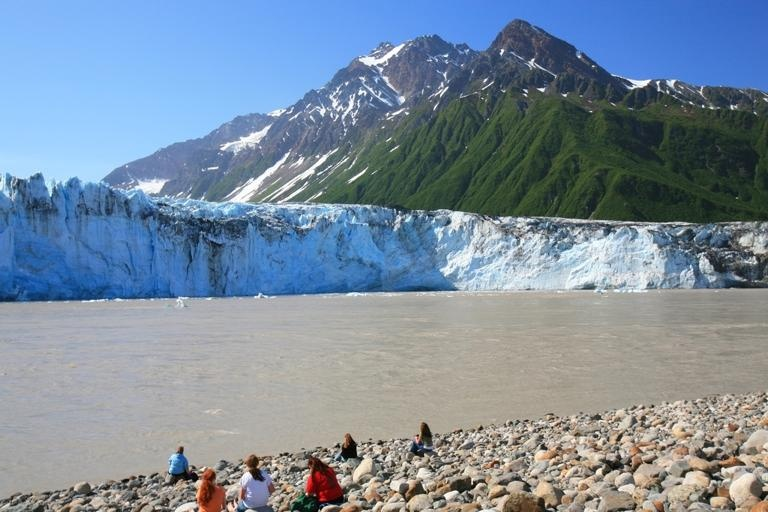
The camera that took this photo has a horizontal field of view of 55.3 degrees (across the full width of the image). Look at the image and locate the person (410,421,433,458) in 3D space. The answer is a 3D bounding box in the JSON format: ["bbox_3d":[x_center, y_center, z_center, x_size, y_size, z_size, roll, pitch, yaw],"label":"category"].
[{"bbox_3d":[1.951,9.177,36.866,1.199,1.631,1.128,4,2,40],"label":"person"}]
